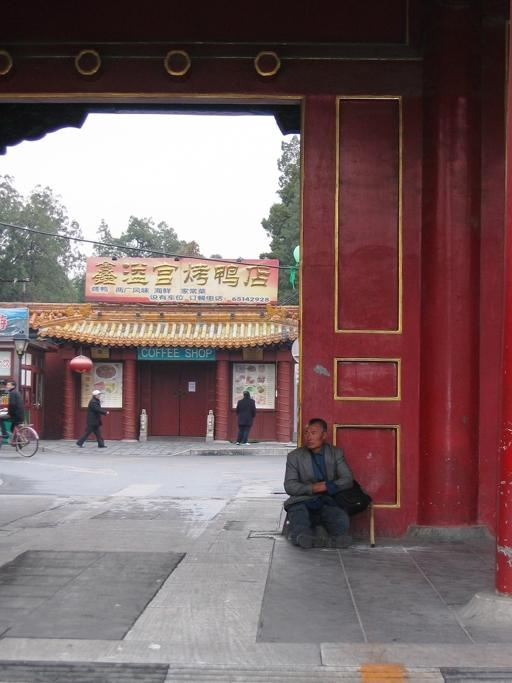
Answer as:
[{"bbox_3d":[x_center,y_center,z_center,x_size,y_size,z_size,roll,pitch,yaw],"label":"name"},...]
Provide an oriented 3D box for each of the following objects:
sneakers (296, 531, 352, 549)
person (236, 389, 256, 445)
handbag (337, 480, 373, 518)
[{"bbox_3d":[0.510,1.505,5.907,0.459,0.165,0.135,-2,-10,-4],"label":"sneakers"},{"bbox_3d":[-0.275,2.057,20.715,0.450,1.242,0.959,-2,0,-2],"label":"person"},{"bbox_3d":[0.770,1.245,6.148,0.271,0.229,0.107,-1,0,6],"label":"handbag"}]
